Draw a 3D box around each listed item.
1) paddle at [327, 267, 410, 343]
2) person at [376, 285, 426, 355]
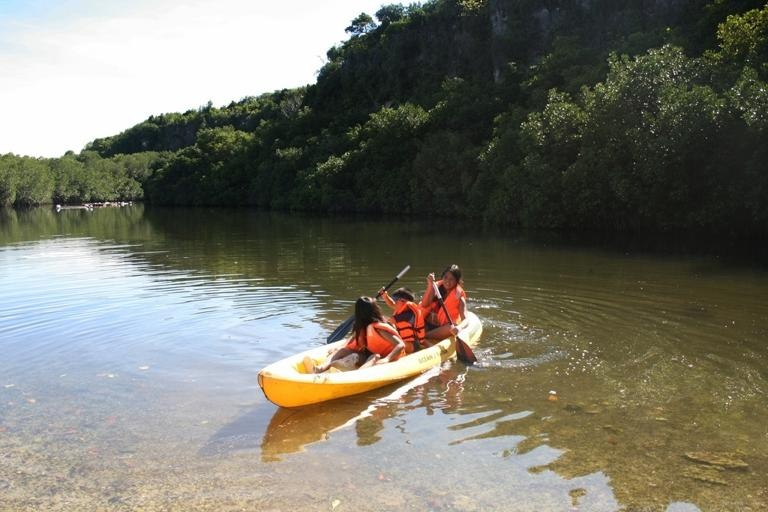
[{"bbox_3d":[-0.377,1.146,14.437,2.863,0.111,0.422,-41,5,-36],"label":"paddle"},{"bbox_3d":[0.419,1.473,13.619,0.770,1.630,0.952,-8,14,-19],"label":"person"}]
